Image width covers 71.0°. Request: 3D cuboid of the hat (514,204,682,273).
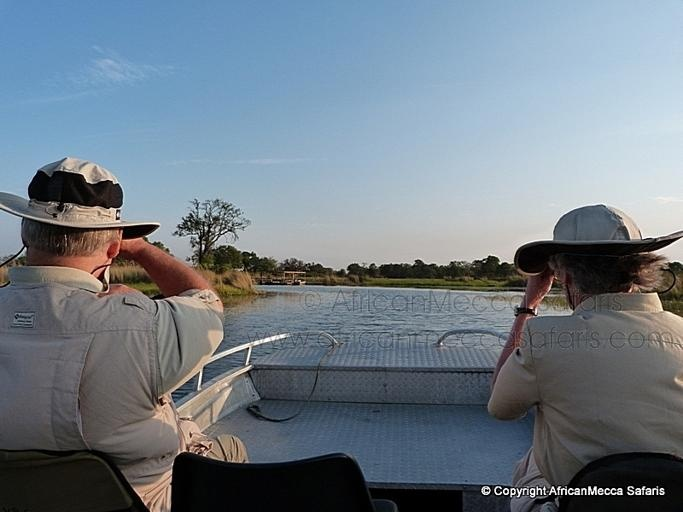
[{"bbox_3d":[1.255,-0.001,2.379,0.609,0.242,0.642,-1,-7,27],"label":"hat"}]
